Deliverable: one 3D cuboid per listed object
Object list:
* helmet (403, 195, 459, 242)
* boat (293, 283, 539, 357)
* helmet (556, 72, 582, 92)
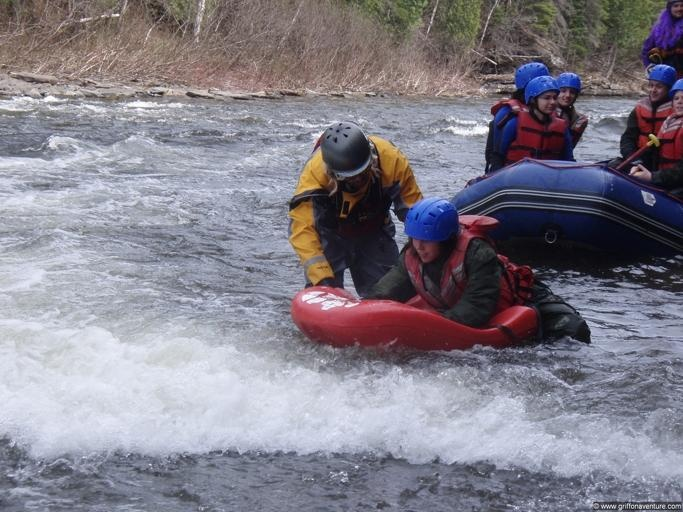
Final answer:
[{"bbox_3d":[0.720,-0.314,7.430,0.429,0.223,0.510,14,17,29],"label":"helmet"},{"bbox_3d":[0.686,0.580,7.865,2.301,0.340,1.178,5,3,-33],"label":"boat"},{"bbox_3d":[2.761,-2.124,10.961,0.346,0.214,0.378,9,12,3],"label":"helmet"}]
